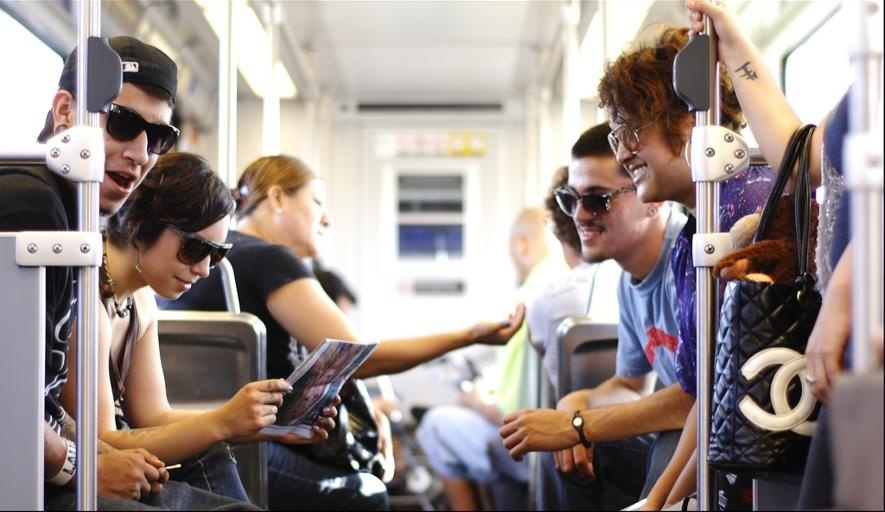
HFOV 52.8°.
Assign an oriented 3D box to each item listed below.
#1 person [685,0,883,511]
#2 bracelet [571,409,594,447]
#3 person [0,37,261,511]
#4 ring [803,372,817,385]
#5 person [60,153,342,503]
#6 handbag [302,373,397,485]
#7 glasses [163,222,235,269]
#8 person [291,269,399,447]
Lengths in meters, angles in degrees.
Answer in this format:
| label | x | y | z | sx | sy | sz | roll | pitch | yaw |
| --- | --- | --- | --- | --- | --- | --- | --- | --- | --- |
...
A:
| label | x | y | z | sx | sy | sz | roll | pitch | yaw |
| --- | --- | --- | --- | --- | --- | --- | --- | --- | --- |
| person | 1.142 | -0.065 | 2.761 | 0.325 | 1.639 | 0.562 | 6 | -11 | -42 |
| bracelet | 0.520 | 0.645 | 3.324 | 0.066 | 0.109 | 0.103 | -24 | -50 | 11 |
| person | -1.178 | 0.022 | 3.102 | 0.510 | 1.714 | 0.742 | -9 | -11 | 42 |
| ring | 1.134 | 0.384 | 2.760 | 0.007 | 0.027 | 0.028 | -14 | 23 | -35 |
| person | -0.993 | 0.244 | 3.441 | 1.315 | 1.264 | 0.749 | 7 | -11 | 15 |
| handbag | -0.348 | 0.766 | 3.897 | 0.182 | 0.348 | 0.504 | -41 | -60 | 15 |
| glasses | -0.997 | -0.054 | 3.492 | 0.258 | 0.096 | 0.238 | 30 | 5 | 32 |
| person | -0.669 | 0.627 | 5.748 | 0.332 | 1.053 | 0.779 | -4 | 3 | -27 |
